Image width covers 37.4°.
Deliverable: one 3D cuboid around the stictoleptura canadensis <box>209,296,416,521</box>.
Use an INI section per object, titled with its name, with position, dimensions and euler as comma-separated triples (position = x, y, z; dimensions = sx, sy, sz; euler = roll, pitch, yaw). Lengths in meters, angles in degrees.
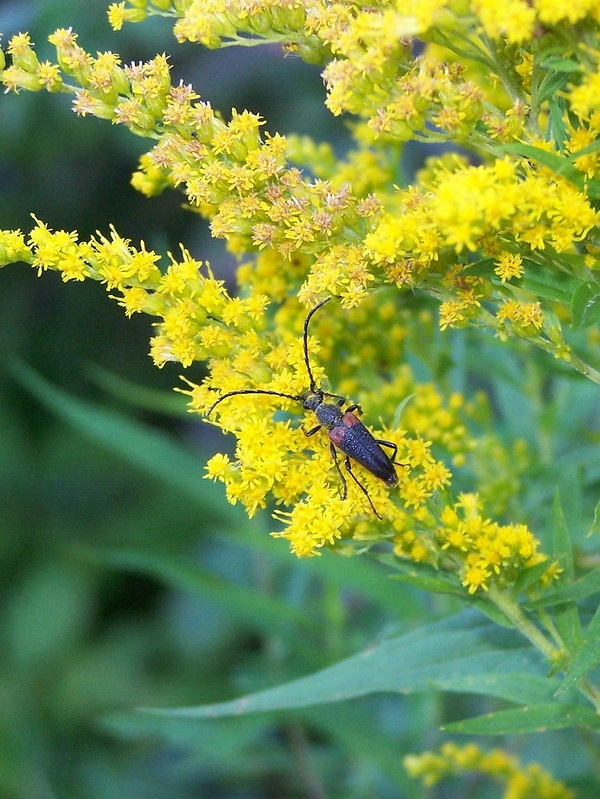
[stictoleptura canadensis]
position = 0.024, 0.029, 1.497
dimensions = 0.308, 0.095, 0.360
euler = -35, 73, -10
